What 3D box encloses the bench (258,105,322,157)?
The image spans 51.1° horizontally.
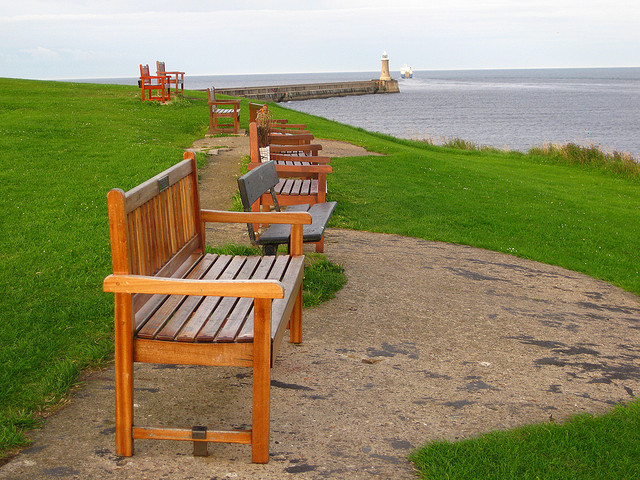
[{"bbox_3d":[-0.625,-2.133,13.131,0.585,0.664,1.726,-7,21,-17],"label":"bench"}]

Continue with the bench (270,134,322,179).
[{"bbox_3d":[-0.426,-1.386,11.133,0.471,0.509,1.218,-1,21,-2],"label":"bench"}]

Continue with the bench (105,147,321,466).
[{"bbox_3d":[-0.967,0.681,6.375,1.309,1.947,2.884,1,14,1],"label":"bench"}]

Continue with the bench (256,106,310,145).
[{"bbox_3d":[-0.710,-2.382,15.014,0.476,0.686,1.188,-24,24,-32],"label":"bench"}]

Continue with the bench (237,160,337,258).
[{"bbox_3d":[-0.350,-0.419,8.412,0.962,0.892,2.140,2,13,4],"label":"bench"}]

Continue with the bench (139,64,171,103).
[{"bbox_3d":[-6.152,-5.856,25.105,1.077,1.390,1.190,4,15,9],"label":"bench"}]

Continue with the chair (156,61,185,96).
[{"bbox_3d":[-5.670,-6.054,25.401,0.925,1.331,1.001,5,16,-1],"label":"chair"}]
